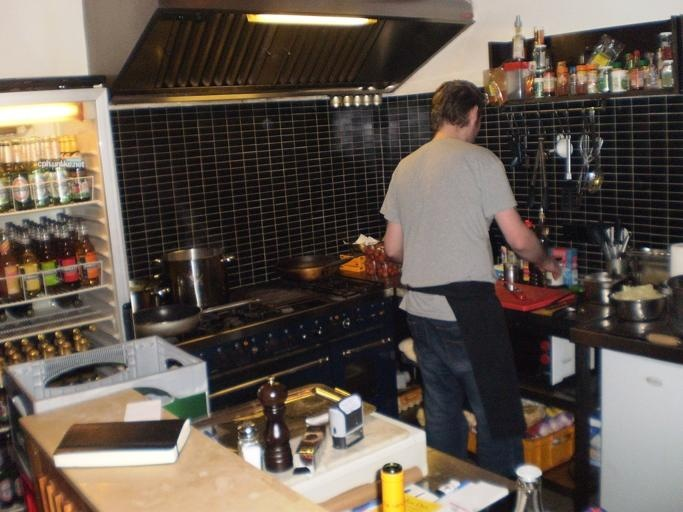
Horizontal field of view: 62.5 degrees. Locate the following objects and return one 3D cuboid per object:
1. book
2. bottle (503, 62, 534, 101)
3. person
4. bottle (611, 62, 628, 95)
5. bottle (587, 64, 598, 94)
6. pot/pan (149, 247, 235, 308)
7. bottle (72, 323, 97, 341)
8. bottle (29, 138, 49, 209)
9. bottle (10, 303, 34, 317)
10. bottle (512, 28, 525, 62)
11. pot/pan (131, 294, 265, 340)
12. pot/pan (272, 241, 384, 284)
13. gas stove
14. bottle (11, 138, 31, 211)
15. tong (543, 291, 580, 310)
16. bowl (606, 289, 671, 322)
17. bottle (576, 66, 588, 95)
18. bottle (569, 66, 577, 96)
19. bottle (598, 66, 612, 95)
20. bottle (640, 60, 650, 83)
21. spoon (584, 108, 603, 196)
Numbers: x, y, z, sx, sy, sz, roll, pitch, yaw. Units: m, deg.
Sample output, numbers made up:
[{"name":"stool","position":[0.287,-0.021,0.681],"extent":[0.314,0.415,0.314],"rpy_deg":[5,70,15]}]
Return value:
[{"name":"book","position":[-0.520,0.438,1.321],"extent":[0.303,0.055,0.136],"rpy_deg":[-5,10,3]},{"name":"bottle","position":[0.943,-0.926,2.972],"extent":[0.136,0.205,0.183],"rpy_deg":[-11,20,-20]},{"name":"person","position":[0.520,0.236,2.556],"extent":[0.663,1.527,0.358],"rpy_deg":[1,12,36]},{"name":"bottle","position":[1.314,-0.830,2.651],"extent":[0.080,0.124,0.068],"rpy_deg":[-1,11,25]},{"name":"bottle","position":[1.222,-0.864,2.735],"extent":[0.046,0.135,0.037],"rpy_deg":[-1,11,29]},{"name":"pot/pan","position":[-0.826,0.119,3.134],"extent":[0.380,0.290,0.359],"rpy_deg":[-10,17,-24]},{"name":"bottle","position":[-1.338,0.393,2.880],"extent":[0.105,0.027,0.102],"rpy_deg":[-1,12,0]},{"name":"bottle","position":[-1.441,-0.386,2.663],"extent":[0.077,0.306,0.134],"rpy_deg":[-10,11,-21]},{"name":"bottle","position":[-1.579,0.270,2.777],"extent":[0.073,0.049,0.100],"rpy_deg":[3,3,40]},{"name":"bottle","position":[0.956,-1.127,3.028],"extent":[0.064,0.151,0.055],"rpy_deg":[-5,10,5]},{"name":"pot/pan","position":[-0.712,0.302,2.799],"extent":[0.659,0.094,0.359],"rpy_deg":[-8,11,-12]},{"name":"pot/pan","position":[-0.122,0.017,3.577],"extent":[0.344,0.086,0.626],"rpy_deg":[9,24,37]},{"name":"gas stove","position":[-0.458,0.415,3.214],"extent":[1.414,0.406,0.804],"rpy_deg":[-9,15,-43]},{"name":"bottle","position":[-1.511,-0.371,2.622],"extent":[0.084,0.308,0.117],"rpy_deg":[-12,11,-27]},{"name":"tong","position":[1.114,0.208,2.809],"extent":[0.277,0.077,0.071],"rpy_deg":[-19,16,-40]},{"name":"bowl","position":[1.298,0.208,2.442],"extent":[0.221,0.119,0.169],"rpy_deg":[-2,11,21]},{"name":"bottle","position":[1.185,-0.869,2.772],"extent":[0.054,0.134,0.031],"rpy_deg":[0,12,31]},{"name":"bottle","position":[1.167,-0.880,2.831],"extent":[0.036,0.141,0.115],"rpy_deg":[-2,11,22]},{"name":"bottle","position":[1.267,-0.847,2.702],"extent":[0.061,0.117,0.035],"rpy_deg":[0,12,33]},{"name":"bottle","position":[1.429,-0.865,2.645],"extent":[0.036,0.119,0.063],"rpy_deg":[-1,11,29]},{"name":"spoon","position":[1.327,-0.555,2.994],"extent":[0.113,0.449,0.112],"rpy_deg":[2,13,40]}]
